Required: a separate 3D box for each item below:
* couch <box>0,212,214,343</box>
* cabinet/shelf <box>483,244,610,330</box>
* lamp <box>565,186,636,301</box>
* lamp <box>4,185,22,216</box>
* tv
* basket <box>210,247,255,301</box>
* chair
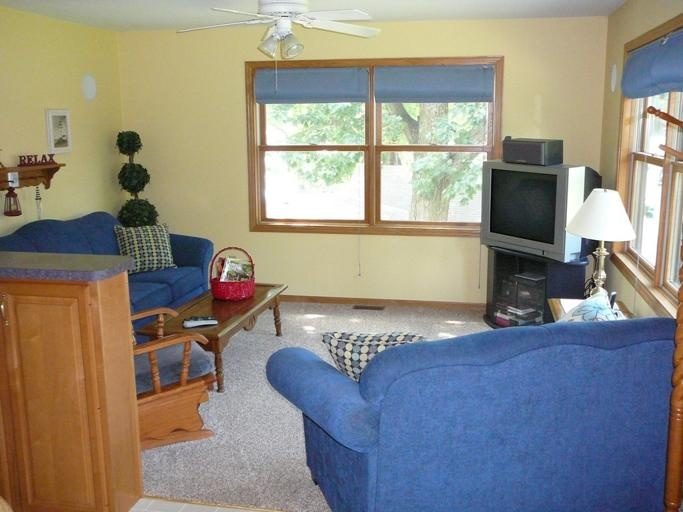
[{"bbox_3d":[-2.177,0.016,5.301,1.205,1.064,2.286,3,8,12],"label":"couch"},{"bbox_3d":[1.895,0.326,5.410,0.939,0.807,0.561,15,22,42],"label":"cabinet/shelf"},{"bbox_3d":[1.822,-0.062,3.741,0.391,0.791,0.698,6,12,33],"label":"lamp"},{"bbox_3d":[-2.971,-0.470,4.838,0.129,0.272,0.258,-7,12,-31],"label":"lamp"},{"bbox_3d":[2.022,-0.480,5.251,0.787,0.870,1.067,-11,17,-27],"label":"tv"},{"bbox_3d":[-0.999,0.160,4.949,0.413,0.440,0.426,6,10,44],"label":"basket"},{"bbox_3d":[-0.970,0.796,3.848,0.897,0.881,0.680,-3,13,-16],"label":"chair"}]
